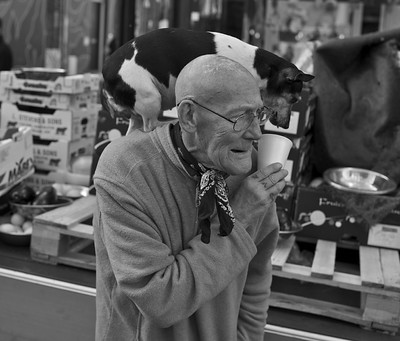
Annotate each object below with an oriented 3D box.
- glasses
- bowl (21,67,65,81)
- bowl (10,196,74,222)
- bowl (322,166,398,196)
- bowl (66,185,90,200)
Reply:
[{"bbox_3d":[0.101,-0.159,1.416,0.176,0.108,0.229,3,19,-3],"label":"glasses"},{"bbox_3d":[-0.886,-0.562,2.766,0.150,0.077,0.290,12,12,32],"label":"bowl"},{"bbox_3d":[-0.896,0.218,2.713,0.357,0.101,0.157,-2,12,-36],"label":"bowl"},{"bbox_3d":[0.875,0.047,2.643,0.401,0.098,0.324,12,12,31],"label":"bowl"},{"bbox_3d":[-0.758,0.133,2.949,0.145,0.068,0.100,2,10,-17],"label":"bowl"}]
